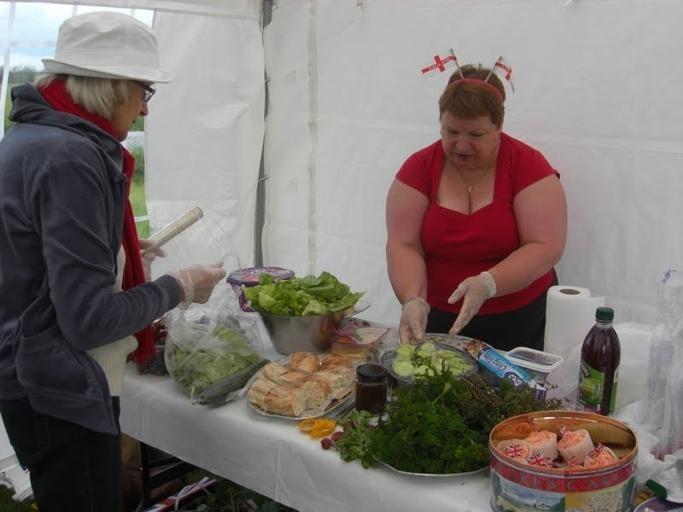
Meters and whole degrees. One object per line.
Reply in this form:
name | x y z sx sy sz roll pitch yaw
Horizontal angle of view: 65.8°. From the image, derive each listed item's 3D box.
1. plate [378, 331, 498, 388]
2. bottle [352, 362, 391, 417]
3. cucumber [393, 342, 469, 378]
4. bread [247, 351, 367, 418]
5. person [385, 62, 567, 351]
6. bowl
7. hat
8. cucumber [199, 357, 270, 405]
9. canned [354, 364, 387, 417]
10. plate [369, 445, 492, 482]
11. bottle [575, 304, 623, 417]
plate | 0.380 0.365 2.159 0.339 0.172 0.393 -5 11 -37
bottle | 0.112 0.513 2.015 0.158 0.186 0.120 1 8 0
cucumber | 0.337 0.409 2.085 0.232 0.136 0.255 -4 9 -42
bread | -0.132 0.509 2.221 0.332 0.245 0.453 -3 13 18
person | 0.642 -0.227 2.681 0.934 1.437 0.501 7 11 24
bowl | -0.202 0.310 2.597 0.332 0.235 0.333 1 14 0
hat | -0.892 -0.783 1.989 0.342 0.161 0.308 1 13 -21
cucumber | -0.463 0.534 2.236 0.236 0.058 0.060 -31 45 -31
canned | 0.112 0.504 1.993 0.156 0.182 0.117 -1 8 -7
plate | 0.305 0.713 1.760 0.376 0.072 0.088 5 11 7
bottle | 0.899 0.367 1.904 0.131 0.403 0.136 2 5 0
